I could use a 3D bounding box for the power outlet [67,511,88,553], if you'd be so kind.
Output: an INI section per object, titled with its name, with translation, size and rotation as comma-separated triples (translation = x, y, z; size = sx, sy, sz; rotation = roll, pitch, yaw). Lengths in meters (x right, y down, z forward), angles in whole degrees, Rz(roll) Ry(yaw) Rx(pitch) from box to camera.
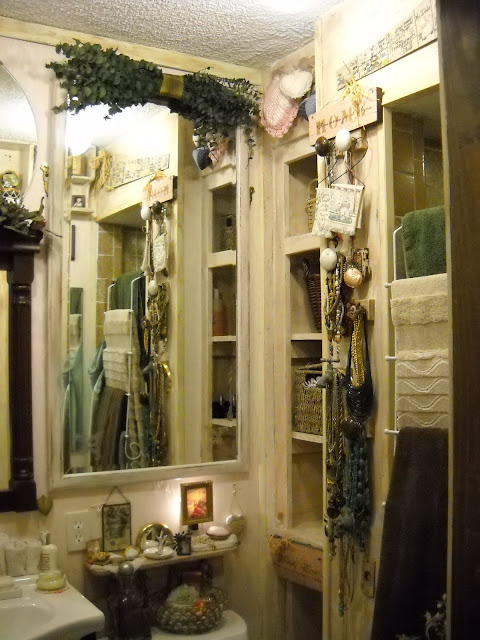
[power outlet]
translation = -0.451, 0.589, 1.593
size = 0.057, 0.107, 0.011
rotation = -1, 0, -14
